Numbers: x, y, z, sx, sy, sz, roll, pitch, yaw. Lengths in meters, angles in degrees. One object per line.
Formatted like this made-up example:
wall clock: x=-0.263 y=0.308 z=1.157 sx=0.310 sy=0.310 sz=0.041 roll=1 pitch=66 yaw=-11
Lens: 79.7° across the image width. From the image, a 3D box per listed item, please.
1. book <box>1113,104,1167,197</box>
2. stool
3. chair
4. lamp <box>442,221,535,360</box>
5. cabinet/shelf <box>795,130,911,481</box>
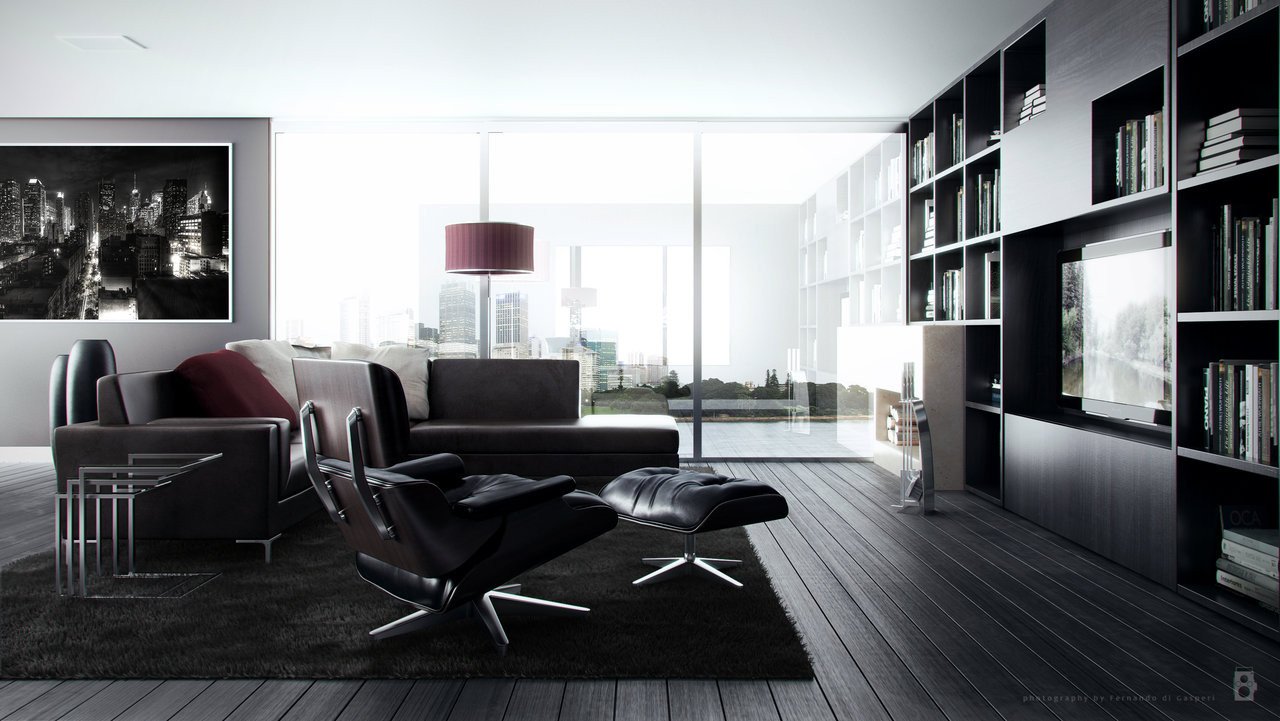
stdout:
book: x=3.470 y=-1.411 z=5.276 sx=0.145 sy=0.532 sz=0.415 roll=1 pitch=4 yaw=4
stool: x=0.476 y=0.918 z=5.101 sx=1.077 sy=0.578 sz=0.845 roll=-1 pitch=0 yaw=42
chair: x=-1.091 y=0.776 z=4.994 sx=1.993 sy=1.509 sz=1.558 roll=0 pitch=0 yaw=-39
lamp: x=-1.479 y=-0.675 z=7.513 sx=0.782 sy=1.295 sz=0.795 roll=0 pitch=4 yaw=-11
cabinet/shelf: x=2.179 y=-0.671 z=7.875 sx=1.090 sy=3.288 sz=0.360 roll=1 pitch=4 yaw=10
